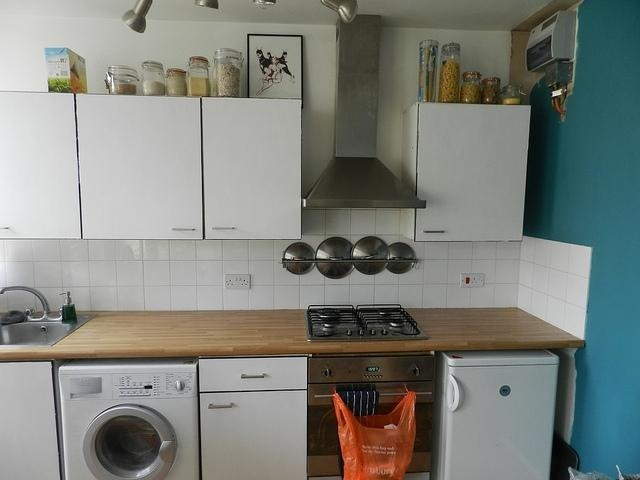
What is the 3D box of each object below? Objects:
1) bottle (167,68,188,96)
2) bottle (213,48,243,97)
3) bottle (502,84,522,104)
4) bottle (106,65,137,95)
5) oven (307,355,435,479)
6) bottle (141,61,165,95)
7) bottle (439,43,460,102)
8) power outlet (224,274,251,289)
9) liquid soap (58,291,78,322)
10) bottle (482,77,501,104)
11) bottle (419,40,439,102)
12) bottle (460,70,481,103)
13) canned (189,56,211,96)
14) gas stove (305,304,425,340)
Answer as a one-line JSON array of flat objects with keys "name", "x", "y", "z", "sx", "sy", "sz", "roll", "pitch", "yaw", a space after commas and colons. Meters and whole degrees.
[{"name": "bottle", "x": -0.928, "y": -1.018, "z": 3.472, "sx": 0.175, "sy": 0.177, "sz": 0.131, "roll": -2, "pitch": 6, "yaw": -29}, {"name": "bottle", "x": -0.592, "y": -1.079, "z": 3.497, "sx": 0.181, "sy": 0.305, "sz": 0.126, "roll": -3, "pitch": 7, "yaw": -27}, {"name": "bottle", "x": 1.291, "y": -0.975, "z": 3.630, "sx": 0.127, "sy": 0.127, "sz": 0.130, "roll": 0, "pitch": 6, "yaw": -4}, {"name": "bottle", "x": -1.274, "y": -0.997, "z": 3.502, "sx": 0.199, "sy": 0.192, "sz": 0.198, "roll": -1, "pitch": 2, "yaw": -42}, {"name": "oven", "x": 0.269, "y": 0.988, "z": 3.673, "sx": 0.968, "sy": 0.987, "sz": 0.721, "roll": 0, "pitch": -6, "yaw": -4}, {"name": "bottle", "x": -1.077, "y": -1.046, "z": 3.478, "sx": 0.146, "sy": 0.209, "sz": 0.080, "roll": -2, "pitch": 6, "yaw": -17}, {"name": "bottle", "x": 0.863, "y": -1.111, "z": 3.585, "sx": 0.130, "sy": 0.380, "sz": 0.086, "roll": 2, "pitch": 7, "yaw": 19}, {"name": "power outlet", "x": -0.588, "y": 0.299, "z": 3.863, "sx": 0.196, "sy": 0.106, "sz": 0.017, "roll": -1, "pitch": 6, "yaw": -8}, {"name": "liquid soap", "x": -1.729, "y": 0.456, "z": 3.662, "sx": 0.187, "sy": 0.190, "sz": 0.093, "roll": 5, "pitch": 8, "yaw": 41}, {"name": "bottle", "x": 1.150, "y": -1.001, "z": 3.609, "sx": 0.122, "sy": 0.175, "sz": 0.105, "roll": 1, "pitch": 6, "yaw": 12}, {"name": "bottle", "x": 0.717, "y": -1.123, "z": 3.593, "sx": 0.137, "sy": 0.402, "sz": 0.133, "roll": 0, "pitch": 6, "yaw": 0}, {"name": "bottle", "x": 1.017, "y": -1.018, "z": 3.593, "sx": 0.142, "sy": 0.224, "sz": 0.147, "roll": 0, "pitch": 6, "yaw": 0}, {"name": "canned", "x": -0.782, "y": -1.053, "z": 3.461, "sx": 0.138, "sy": 0.261, "sz": 0.098, "roll": -1, "pitch": 6, "yaw": -14}, {"name": "gas stove", "x": 0.286, "y": 0.553, "z": 3.600, "sx": 0.743, "sy": 0.112, "sz": 0.477, "roll": 0, "pitch": 5, "yaw": -3}]
